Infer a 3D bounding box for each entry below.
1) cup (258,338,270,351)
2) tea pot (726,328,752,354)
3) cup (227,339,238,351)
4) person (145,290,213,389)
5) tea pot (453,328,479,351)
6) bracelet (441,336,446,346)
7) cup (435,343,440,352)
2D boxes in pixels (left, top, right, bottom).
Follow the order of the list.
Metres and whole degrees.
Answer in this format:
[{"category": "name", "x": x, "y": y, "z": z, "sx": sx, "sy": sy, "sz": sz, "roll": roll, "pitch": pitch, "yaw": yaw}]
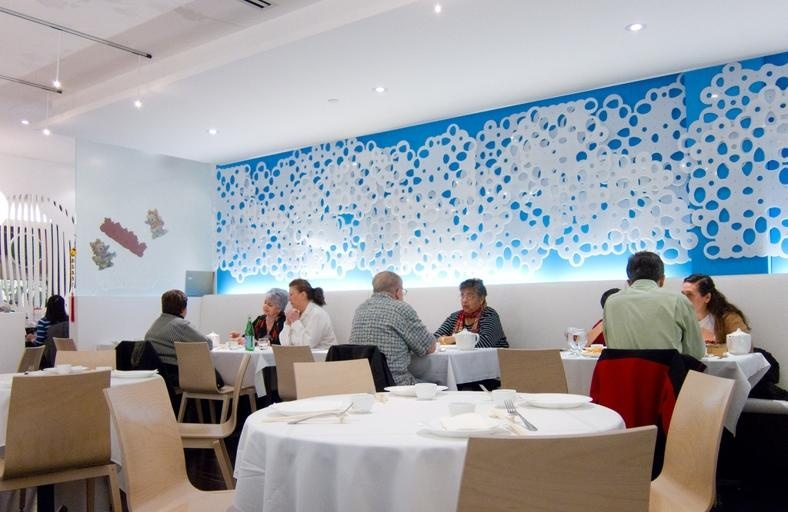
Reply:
[{"category": "cup", "x": -1.164, "y": 0.803, "z": 4.911, "sx": 0.094, "sy": 0.063, "sz": 0.132, "roll": 2, "pitch": -6, "yaw": -1}, {"category": "tea pot", "x": 2.377, "y": 0.608, "z": 3.748, "sx": 0.128, "sy": 0.171, "sz": 0.176, "roll": -4, "pitch": -13, "yaw": 19}, {"category": "cup", "x": -1.534, "y": 0.854, "z": 5.183, "sx": 0.093, "sy": 0.119, "sz": 0.125, "roll": 0, "pitch": -11, "yaw": -1}, {"category": "person", "x": -2.048, "y": 0.780, "z": 5.123, "sx": 0.739, "sy": 0.871, "sz": 0.478, "roll": -6, "pitch": -3, "yaw": 21}, {"category": "tea pot", "x": 0.594, "y": 0.685, "z": 4.393, "sx": 0.167, "sy": 0.129, "sz": 0.132, "roll": 2, "pitch": -8, "yaw": -2}, {"category": "bracelet", "x": 0.431, "y": 0.757, "z": 4.813, "sx": 0.038, "sy": 0.077, "sz": 0.053, "roll": 3, "pitch": -10, "yaw": -15}, {"category": "cup", "x": 0.345, "y": 0.726, "z": 4.296, "sx": 0.061, "sy": 0.059, "sz": 0.062, "roll": 0, "pitch": 1, "yaw": 0}]
